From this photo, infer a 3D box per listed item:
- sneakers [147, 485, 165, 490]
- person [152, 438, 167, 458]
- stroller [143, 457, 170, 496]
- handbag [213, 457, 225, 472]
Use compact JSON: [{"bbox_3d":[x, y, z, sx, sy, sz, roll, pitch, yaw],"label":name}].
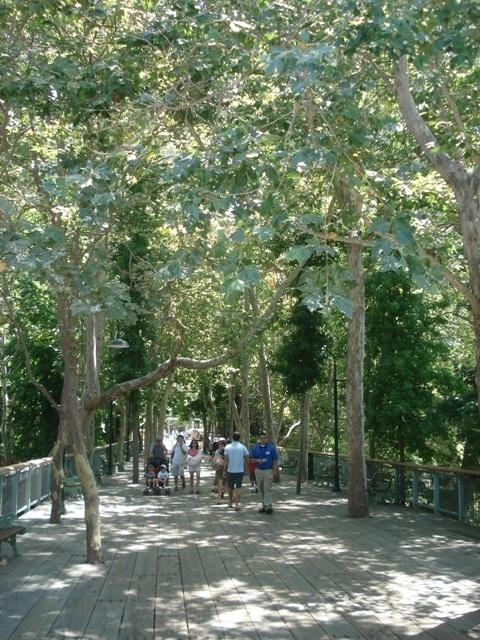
[{"bbox_3d":[-2.572,5.184,18.851,0.269,0.117,0.351,-2,-7,19],"label":"sneakers"},{"bbox_3d":[-2.589,4.092,19.558,0.493,0.622,1.016,0,-9,-7],"label":"person"},{"bbox_3d":[-2.611,5.020,19.183,0.808,1.102,1.031,2,-27,-3],"label":"stroller"},{"bbox_3d":[-0.602,3.900,16.483,0.499,0.273,0.512,-8,-8,-1],"label":"handbag"}]
